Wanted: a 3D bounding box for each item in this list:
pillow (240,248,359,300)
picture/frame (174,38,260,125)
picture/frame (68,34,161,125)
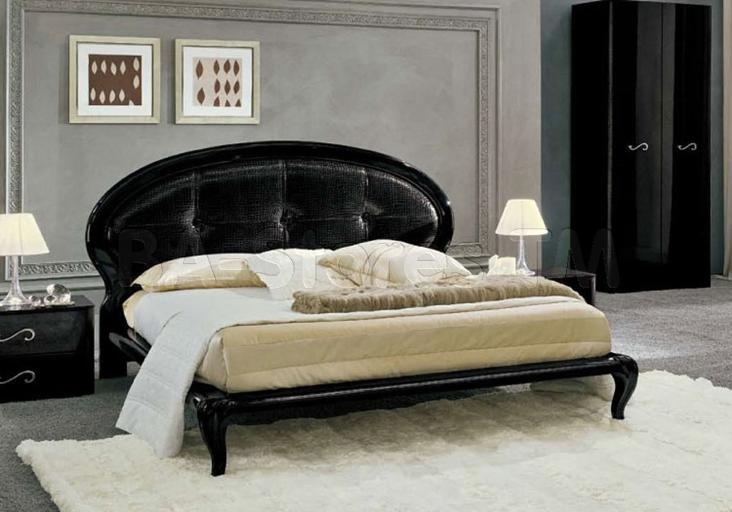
[{"bbox_3d":[-0.388,0.094,3.751,0.560,0.202,0.452,-7,11,-34],"label":"pillow"},{"bbox_3d":[-1.073,-1.235,4.391,0.655,0.612,0.047,0,0,-21],"label":"picture/frame"},{"bbox_3d":[-1.725,-1.202,4.216,0.651,0.610,0.049,0,0,-16],"label":"picture/frame"}]
